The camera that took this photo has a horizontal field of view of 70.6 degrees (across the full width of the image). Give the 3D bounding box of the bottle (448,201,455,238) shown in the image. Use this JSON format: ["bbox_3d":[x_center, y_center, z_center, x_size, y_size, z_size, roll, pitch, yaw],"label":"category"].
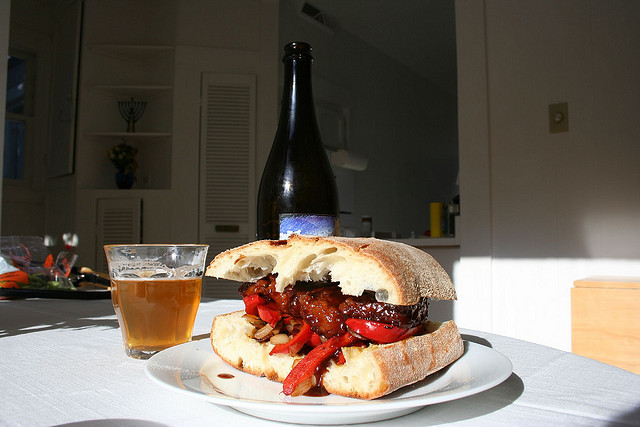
[{"bbox_3d":[0.875,0.046,3.031,0.040,0.224,0.242,-1,-5,15],"label":"bottle"}]

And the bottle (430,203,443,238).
[{"bbox_3d":[0.731,0.040,2.854,0.054,0.240,0.261,-1,-5,19],"label":"bottle"}]

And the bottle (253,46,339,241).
[{"bbox_3d":[-0.042,-0.159,0.972,0.187,0.426,0.256,1,-5,-6],"label":"bottle"}]

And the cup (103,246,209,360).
[{"bbox_3d":[-0.310,0.149,0.867,0.179,0.208,0.190,3,2,0],"label":"cup"}]

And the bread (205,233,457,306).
[{"bbox_3d":[0.018,0.093,0.874,0.438,0.127,0.297,-2,-4,34],"label":"bread"}]

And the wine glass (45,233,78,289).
[{"bbox_3d":[-0.903,0.172,1.534,0.097,0.203,0.122,-4,-17,-32],"label":"wine glass"}]

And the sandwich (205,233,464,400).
[{"bbox_3d":[0.025,0.166,0.863,0.416,0.262,0.301,-1,-1,44],"label":"sandwich"}]
